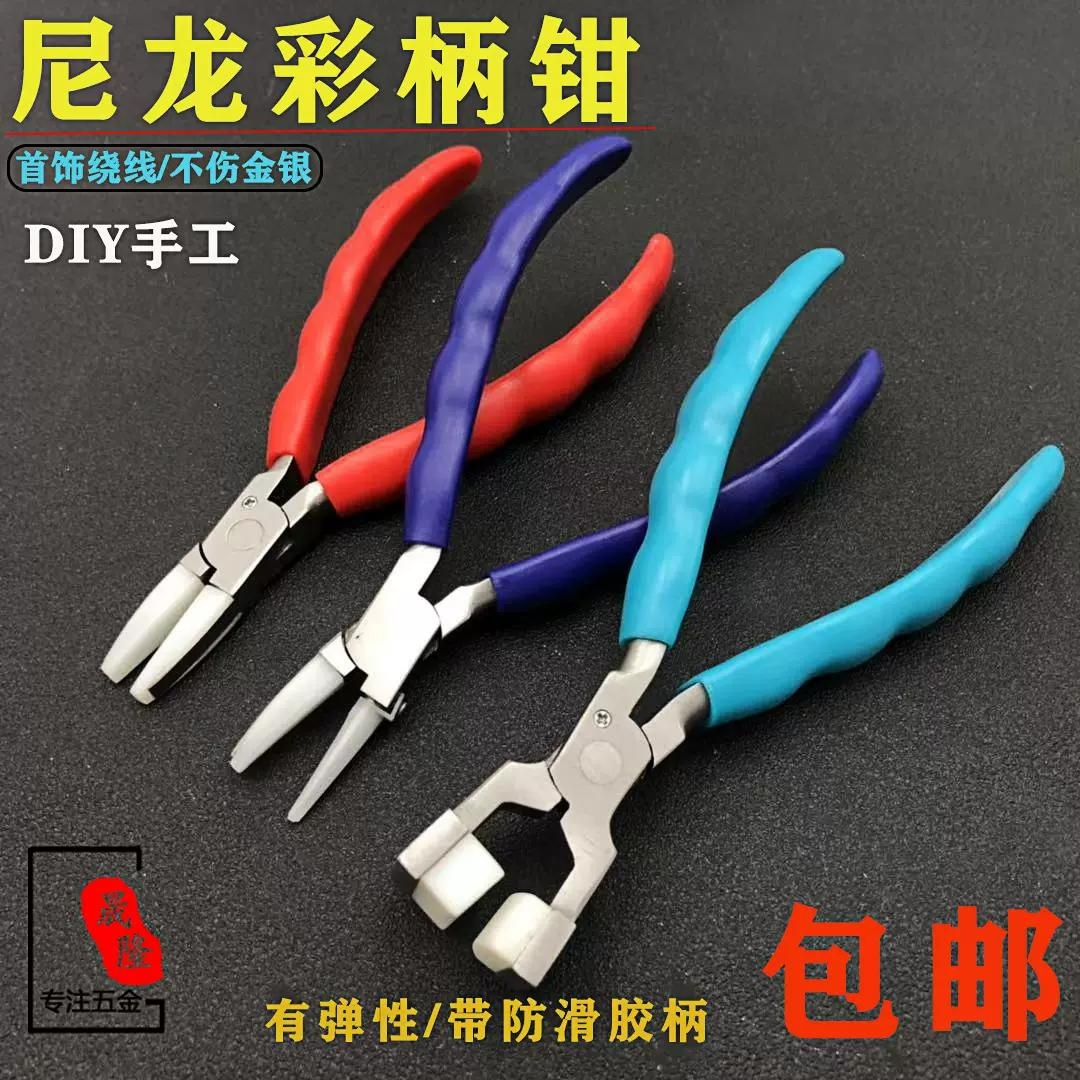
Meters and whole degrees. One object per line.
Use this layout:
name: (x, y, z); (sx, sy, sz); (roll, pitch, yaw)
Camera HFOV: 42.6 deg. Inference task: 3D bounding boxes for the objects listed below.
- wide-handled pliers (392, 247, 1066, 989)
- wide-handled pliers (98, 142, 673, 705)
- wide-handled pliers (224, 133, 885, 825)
wide-handled pliers: (0.118, 0.060, 0.953); (0.293, 0.067, 0.575); (42, 70, 6)
wide-handled pliers: (-0.087, -0.096, 1.171); (0.251, 0.080, 0.610); (38, 78, 15)
wide-handled pliers: (-0.029, -0.045, 1.083); (0.318, 0.064, 0.566); (43, 68, -1)
